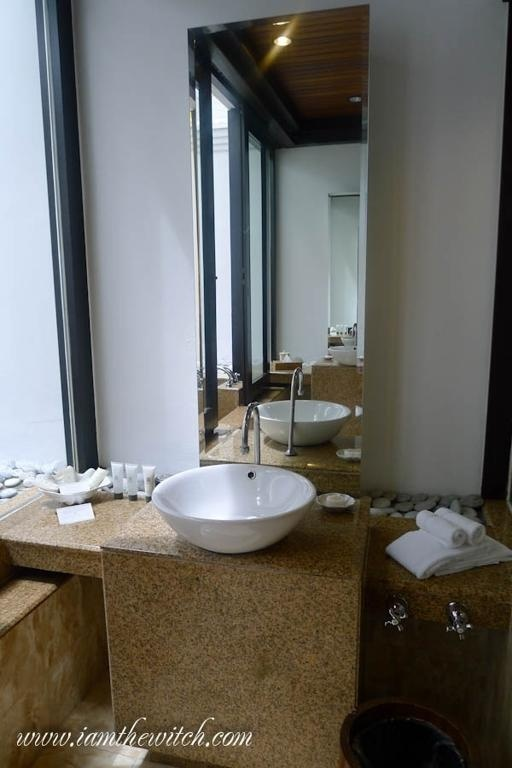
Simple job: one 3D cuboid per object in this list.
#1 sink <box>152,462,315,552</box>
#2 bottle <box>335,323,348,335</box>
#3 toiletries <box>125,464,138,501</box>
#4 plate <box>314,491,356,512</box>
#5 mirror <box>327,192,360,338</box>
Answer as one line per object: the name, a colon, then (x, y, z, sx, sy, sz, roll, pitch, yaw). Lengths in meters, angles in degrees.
sink: (-0.062, 0.329, 1.514, 0.436, 0.176, 0.459, -1, 15, 7)
bottle: (0.278, -0.179, 1.817, 0.038, 0.044, 0.030, 0, 2, 13)
toiletries: (-0.453, 0.355, 2.043, 0.041, 0.139, 0.026, -6, 14, -14)
plate: (0.248, 0.365, 1.759, 0.118, 0.036, 0.120, 4, 17, 24)
mirror: (0.284, -0.434, 1.803, 0.097, 0.432, 0.020, 2, 51, 10)
